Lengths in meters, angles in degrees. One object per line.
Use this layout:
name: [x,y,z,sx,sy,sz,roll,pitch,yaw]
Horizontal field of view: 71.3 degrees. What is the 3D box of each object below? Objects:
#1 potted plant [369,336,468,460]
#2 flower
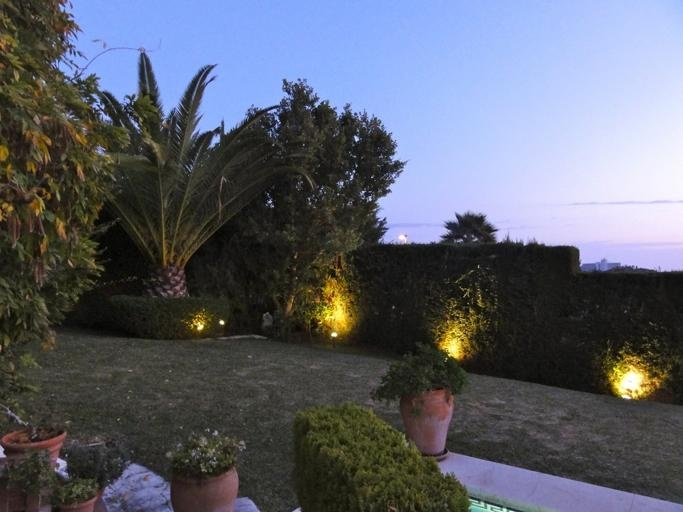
potted plant: [1.182,2.009,6.776,0.983,1.547,1.365,3,0,40]
flower: [-1.569,2.165,5.382,0.722,0.519,0.842,2,-3,-23]
